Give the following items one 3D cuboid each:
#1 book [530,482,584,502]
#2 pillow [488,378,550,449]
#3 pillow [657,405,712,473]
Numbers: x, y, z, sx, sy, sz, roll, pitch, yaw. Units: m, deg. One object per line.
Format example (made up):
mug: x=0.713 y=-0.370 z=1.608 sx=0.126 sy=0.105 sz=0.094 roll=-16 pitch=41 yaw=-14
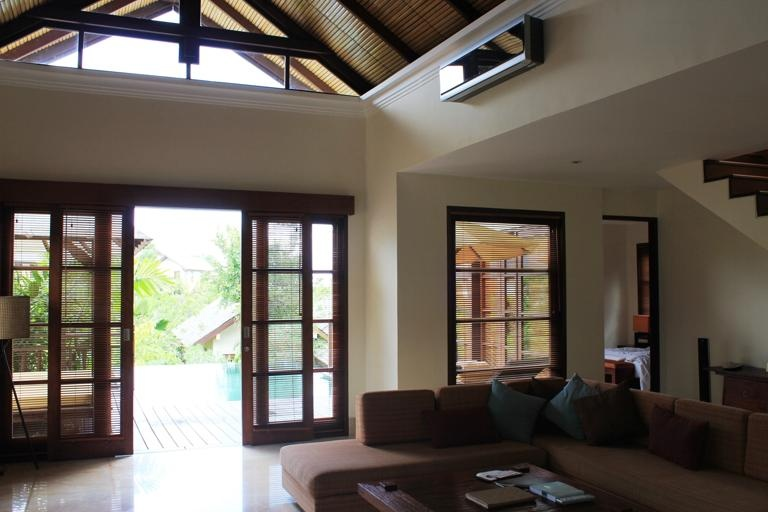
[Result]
book: x=1.359 y=1.866 z=4.690 sx=0.303 sy=0.072 sz=0.339 roll=2 pitch=-4 yaw=-39
pillow: x=1.314 y=1.596 z=6.012 sx=0.513 sy=0.510 sz=0.258 roll=19 pitch=-7 yaw=13
pillow: x=2.685 y=1.652 z=5.271 sx=0.194 sy=0.371 sz=0.517 roll=2 pitch=-1 yaw=-25
